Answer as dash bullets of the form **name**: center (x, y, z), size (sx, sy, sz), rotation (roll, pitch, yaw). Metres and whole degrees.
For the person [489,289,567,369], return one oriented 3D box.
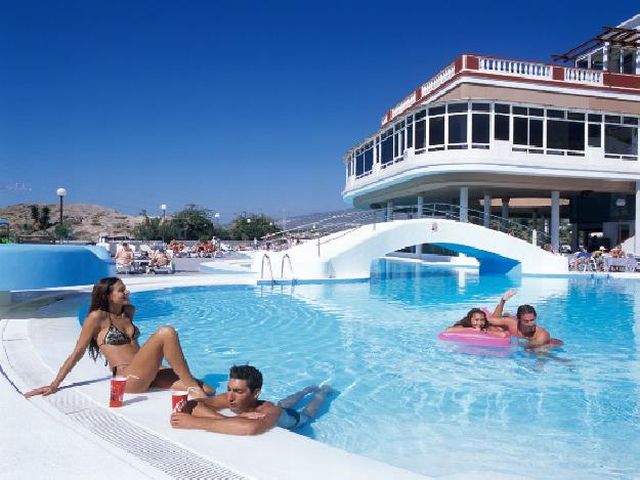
- **person**: center (3.432, 1.312, 8.963), size (0.926, 1.006, 1.606), rotation (3, 4, -9)

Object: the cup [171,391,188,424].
- **cup**: center (-1.370, 1.591, 5.383), size (0.142, 0.208, 0.187), rotation (3, 4, -16)

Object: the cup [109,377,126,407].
- **cup**: center (-2.071, 1.536, 5.655), size (0.141, 0.307, 0.188), rotation (3, 4, -18)
